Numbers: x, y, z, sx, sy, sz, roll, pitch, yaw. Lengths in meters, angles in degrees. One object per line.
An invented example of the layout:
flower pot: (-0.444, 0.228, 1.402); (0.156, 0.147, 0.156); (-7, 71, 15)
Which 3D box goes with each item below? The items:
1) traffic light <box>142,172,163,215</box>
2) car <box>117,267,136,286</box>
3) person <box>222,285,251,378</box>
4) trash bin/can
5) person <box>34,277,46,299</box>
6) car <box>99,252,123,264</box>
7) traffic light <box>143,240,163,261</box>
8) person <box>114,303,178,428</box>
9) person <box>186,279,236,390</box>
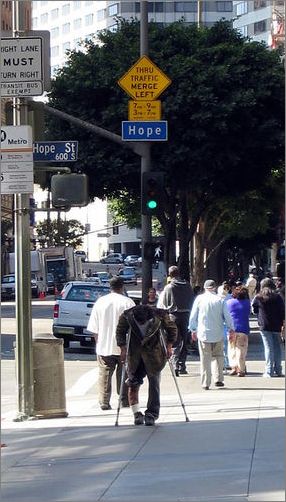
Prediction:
traffic light: (0.156, -0.874, 17.165); (0.346, 0.868, 0.198); (-1, -37, 1)
car: (-0.880, 1.532, 66.868); (0.929, 1.063, 1.916); (-4, -7, -5)
person: (1.415, 1.236, 16.114); (0.354, 1.479, 0.396); (2, -27, 3)
trash bin/can: (-1.127, 1.400, 11.938); (0.556, 0.944, 0.577); (-2, -1, 23)
person: (-5.048, 1.824, 52.725); (0.470, 0.535, 0.792); (0, -10, -2)
car: (-2.823, 0.850, 97.131); (1.542, 0.981, 1.054); (4, 1, 11)
traffic light: (0.177, 0.017, 17.030); (0.348, 0.294, 0.309); (-2, 2, 14)
person: (0.047, 1.203, 11.215); (0.645, 1.255, 0.434); (-2, 2, 1)
person: (0.910, 1.143, 14.620); (0.573, 1.424, 0.520); (-4, 3, -40)
